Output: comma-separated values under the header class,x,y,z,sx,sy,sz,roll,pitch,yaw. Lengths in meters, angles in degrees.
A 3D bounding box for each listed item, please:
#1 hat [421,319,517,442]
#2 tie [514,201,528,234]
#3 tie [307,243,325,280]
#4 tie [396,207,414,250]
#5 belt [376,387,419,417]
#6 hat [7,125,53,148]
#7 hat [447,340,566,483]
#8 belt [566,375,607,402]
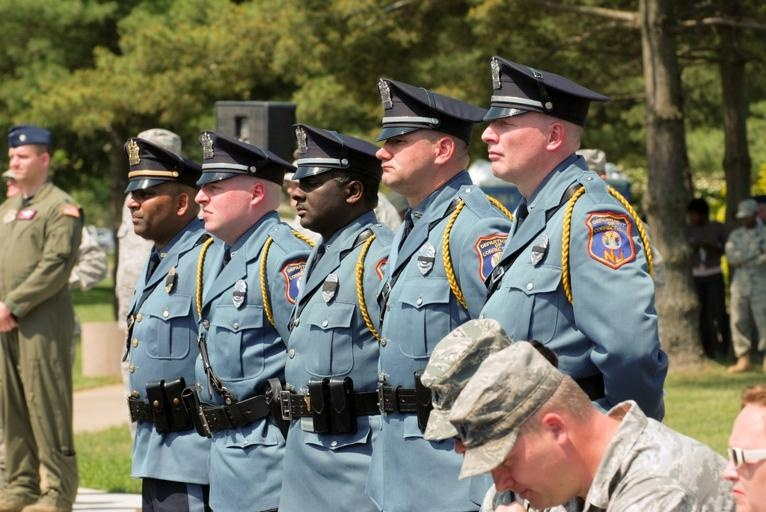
class,x,y,z,sx,sy,sz,roll,pitch,yaw
hat,0.593,0.999,14.523,0.437,1.077,0.720,40,-2,-29
tie,1.283,-0.374,15.657,0.092,0.229,0.182,9,2,11
tie,-0.680,0.051,16.602,0.252,0.305,0.092,16,3,-6
tie,0.180,-0.299,16.257,0.097,0.333,0.212,-3,-10,36
belt,0.128,1.379,15.797,0.334,0.153,0.240,-1,-19,12
hat,-3.965,-1.341,18.723,0.339,0.166,0.297,0,-2,-41
hat,1.003,1.263,14.366,0.440,1.207,0.820,48,-5,-31
belt,1.885,1.218,15.344,0.232,0.256,0.258,-39,-30,21
